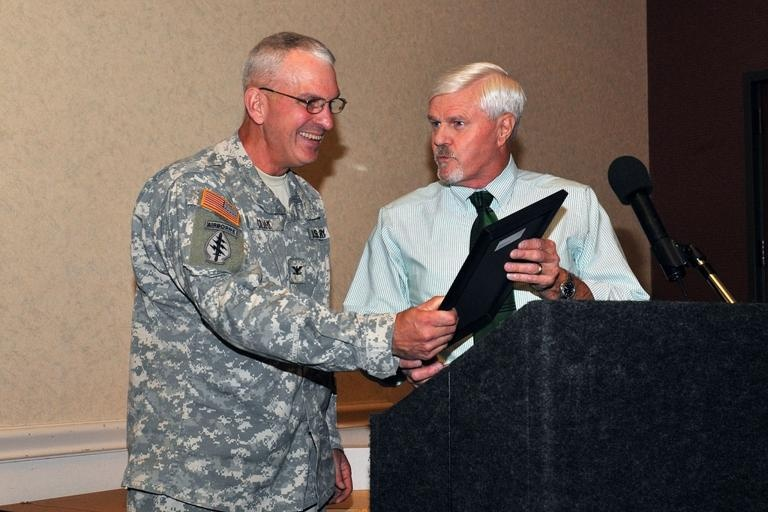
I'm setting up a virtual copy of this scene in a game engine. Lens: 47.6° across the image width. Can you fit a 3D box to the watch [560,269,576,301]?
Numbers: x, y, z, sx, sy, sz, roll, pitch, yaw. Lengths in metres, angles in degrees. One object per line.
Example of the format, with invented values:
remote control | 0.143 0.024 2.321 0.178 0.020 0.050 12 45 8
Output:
watch | 0.689 0.105 3.307 0.086 0.091 0.036 2 -6 -35
